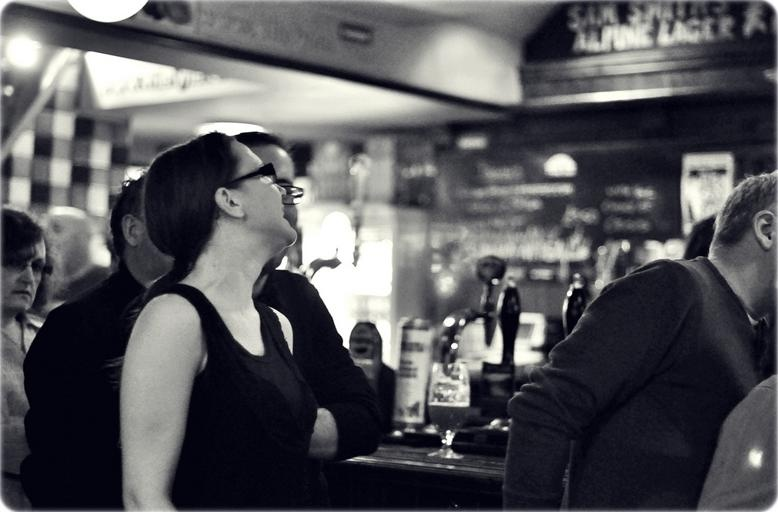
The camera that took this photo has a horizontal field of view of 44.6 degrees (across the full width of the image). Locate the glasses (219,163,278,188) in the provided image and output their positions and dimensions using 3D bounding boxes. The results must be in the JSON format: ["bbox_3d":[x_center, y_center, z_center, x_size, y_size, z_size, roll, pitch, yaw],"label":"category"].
[{"bbox_3d":[-0.404,-0.228,2.758,0.106,0.028,0.083,-16,0,-14],"label":"glasses"}]

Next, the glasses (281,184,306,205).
[{"bbox_3d":[-0.294,-0.185,2.902,0.061,0.071,0.220,3,-3,-3],"label":"glasses"}]
